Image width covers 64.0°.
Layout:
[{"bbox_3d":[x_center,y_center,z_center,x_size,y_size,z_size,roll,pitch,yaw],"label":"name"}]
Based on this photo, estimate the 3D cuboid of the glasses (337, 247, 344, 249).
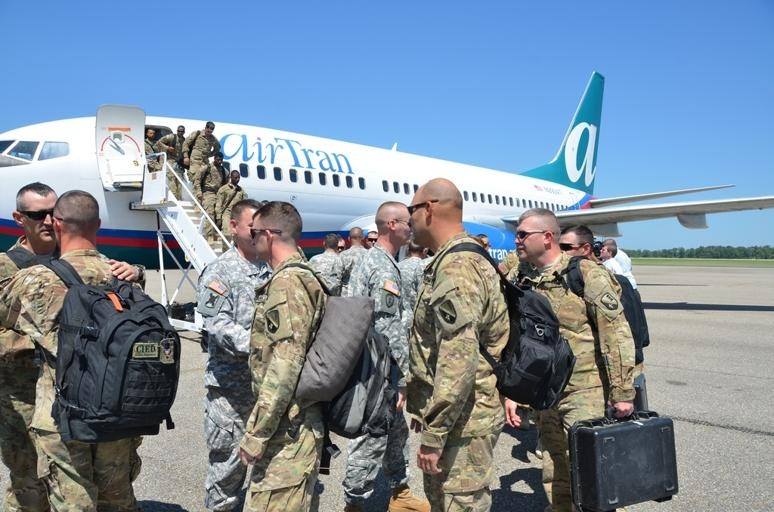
[{"bbox_3d":[-0.812,-0.130,10.762,0.079,0.041,0.098,-3,3,3],"label":"glasses"}]
